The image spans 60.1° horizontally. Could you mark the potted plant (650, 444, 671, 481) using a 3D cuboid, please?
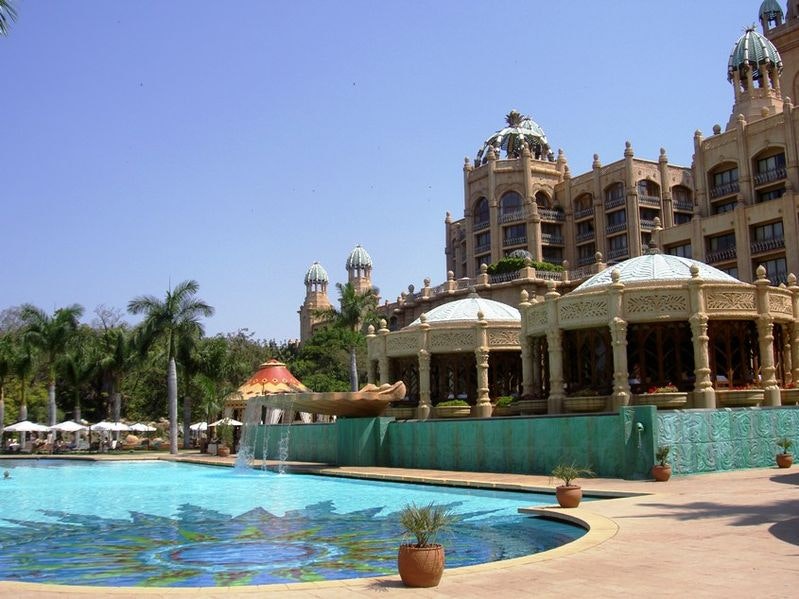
[{"bbox_3d":[6.529,4.092,17.227,0.486,0.826,1.218,-7,-12,19],"label":"potted plant"}]

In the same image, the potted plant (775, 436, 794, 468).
[{"bbox_3d":[10.654,4.250,19.150,0.434,0.773,1.158,-9,-13,27],"label":"potted plant"}]

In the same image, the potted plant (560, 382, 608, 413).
[{"bbox_3d":[6.483,3.451,24.186,1.041,0.648,1.058,1,-6,-10],"label":"potted plant"}]

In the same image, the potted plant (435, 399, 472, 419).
[{"bbox_3d":[2.242,4.672,29.278,0.969,0.487,0.974,1,-5,-14],"label":"potted plant"}]

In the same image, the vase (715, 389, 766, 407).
[{"bbox_3d":[11.328,3.259,22.874,1.720,0.554,0.446,-1,-12,-13],"label":"vase"}]
